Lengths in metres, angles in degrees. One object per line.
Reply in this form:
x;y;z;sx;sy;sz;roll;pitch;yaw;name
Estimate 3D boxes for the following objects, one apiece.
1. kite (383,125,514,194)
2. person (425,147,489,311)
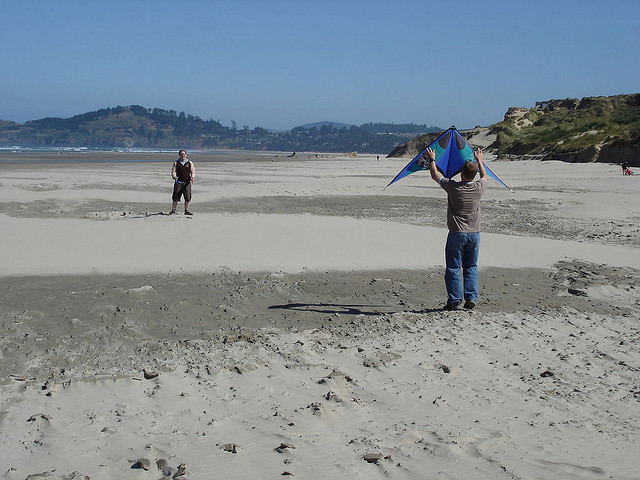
2.038;-1.368;10.308;1.765;0.726;1.670;-1;2;19;kite
2.005;-0.047;9.120;0.800;2.162;0.398;0;12;-2;person
